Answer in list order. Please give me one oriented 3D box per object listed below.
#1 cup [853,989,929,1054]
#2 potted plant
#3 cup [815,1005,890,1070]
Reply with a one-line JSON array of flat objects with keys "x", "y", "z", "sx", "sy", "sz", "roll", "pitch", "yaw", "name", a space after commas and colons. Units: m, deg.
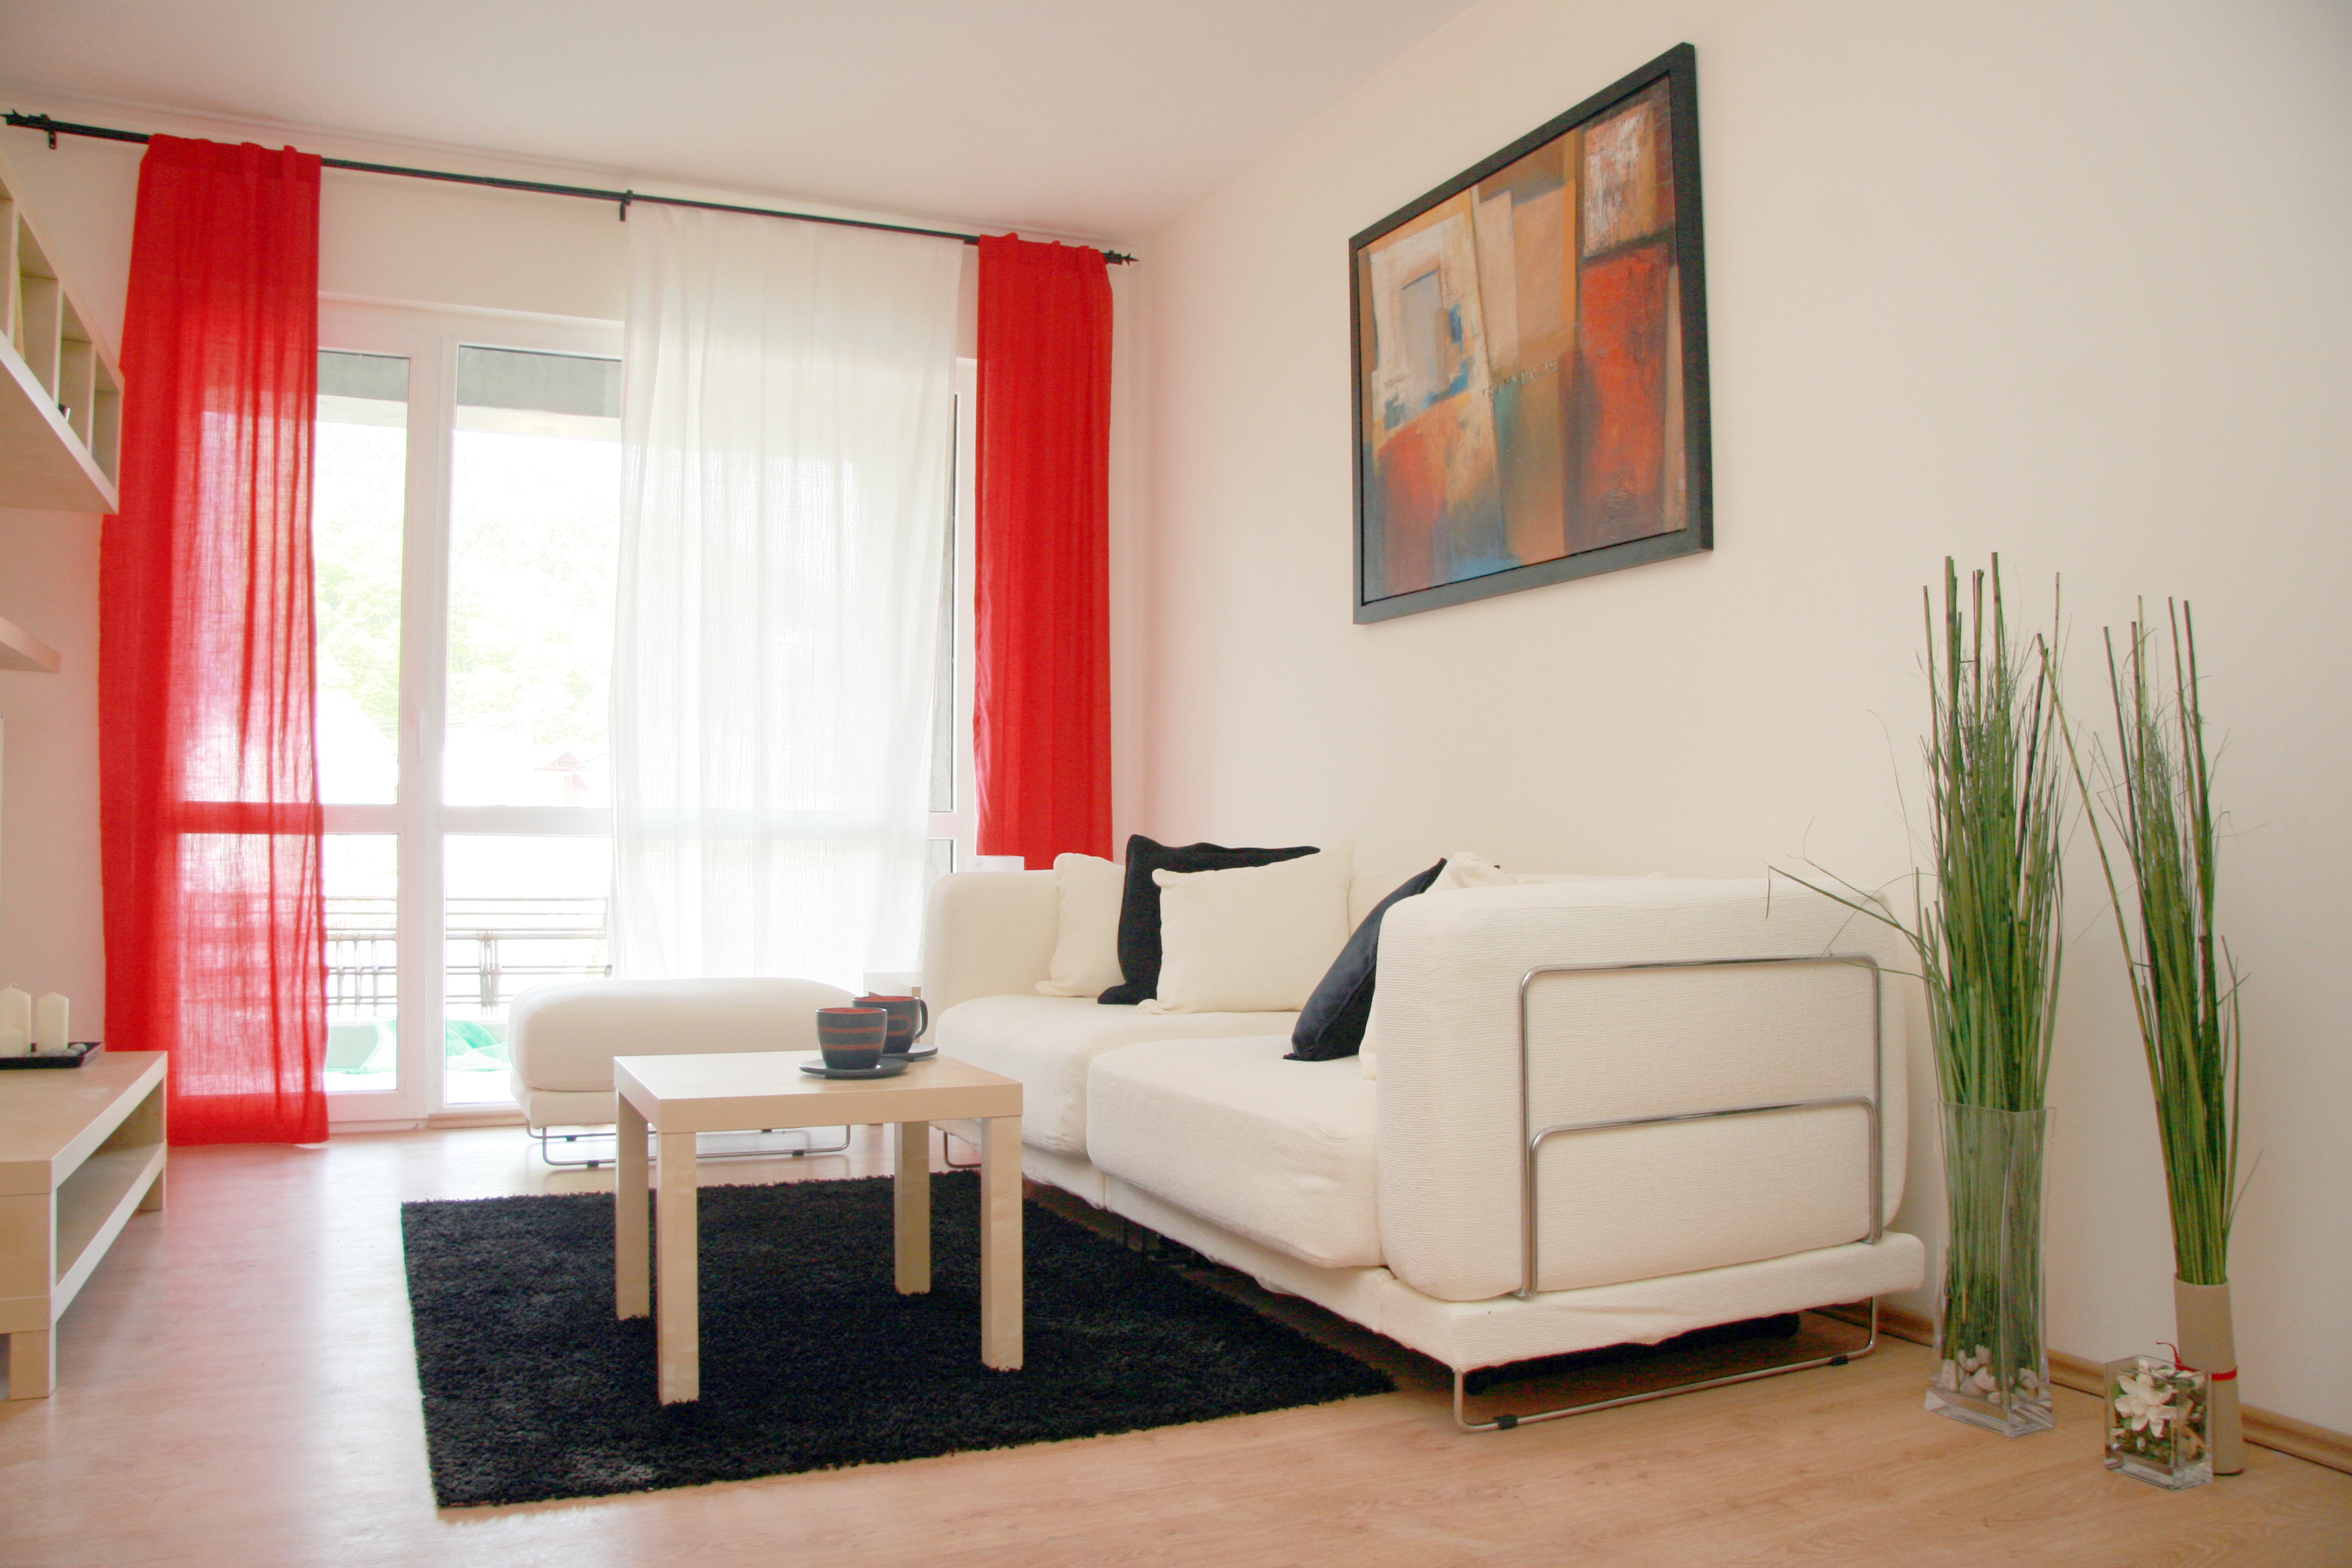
[{"x": -0.645, "y": 0.557, "z": 3.997, "sx": 0.196, "sy": 0.136, "sz": 0.160, "roll": 3, "pitch": -6, "yaw": -27, "name": "cup"}, {"x": 1.857, "y": 0.414, "z": 3.668, "sx": 0.963, "sy": 1.810, "sz": 0.591, "roll": 7, "pitch": 9, "yaw": 44, "name": "potted plant"}, {"x": -0.734, "y": 0.575, "z": 3.825, "sx": 0.128, "sy": 0.105, "sz": 0.153, "roll": 1, "pitch": -6, "yaw": -10, "name": "cup"}]
